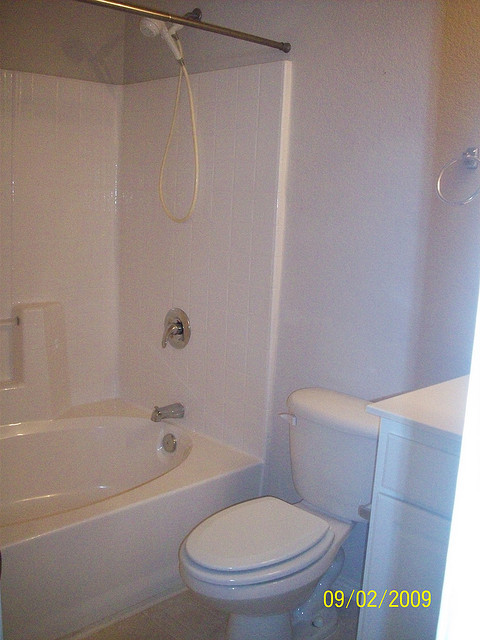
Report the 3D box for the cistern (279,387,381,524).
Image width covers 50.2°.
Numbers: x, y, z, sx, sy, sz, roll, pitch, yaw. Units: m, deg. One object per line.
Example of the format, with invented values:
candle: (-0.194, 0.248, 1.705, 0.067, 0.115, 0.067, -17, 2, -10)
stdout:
cistern: (0.295, 0.409, 1.603, 0.342, 0.371, 0.215, 11, 19, 24)
